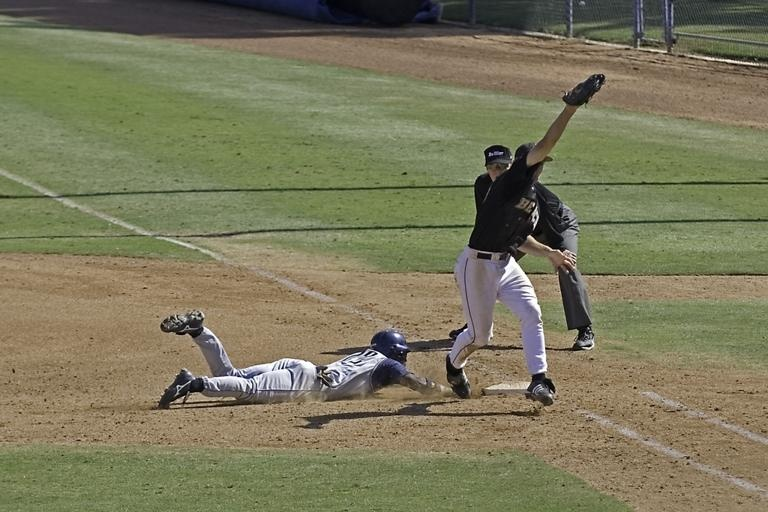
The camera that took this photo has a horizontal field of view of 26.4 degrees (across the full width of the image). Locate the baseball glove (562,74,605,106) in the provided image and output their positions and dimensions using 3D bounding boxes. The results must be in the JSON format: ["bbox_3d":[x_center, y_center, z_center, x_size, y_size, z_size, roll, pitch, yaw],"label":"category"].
[{"bbox_3d":[3.142,-2.514,25.274,0.425,0.701,0.200,43,-14,32],"label":"baseball glove"}]

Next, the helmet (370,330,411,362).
[{"bbox_3d":[0.076,1.440,26.682,0.713,0.445,0.475,16,1,-7],"label":"helmet"}]
